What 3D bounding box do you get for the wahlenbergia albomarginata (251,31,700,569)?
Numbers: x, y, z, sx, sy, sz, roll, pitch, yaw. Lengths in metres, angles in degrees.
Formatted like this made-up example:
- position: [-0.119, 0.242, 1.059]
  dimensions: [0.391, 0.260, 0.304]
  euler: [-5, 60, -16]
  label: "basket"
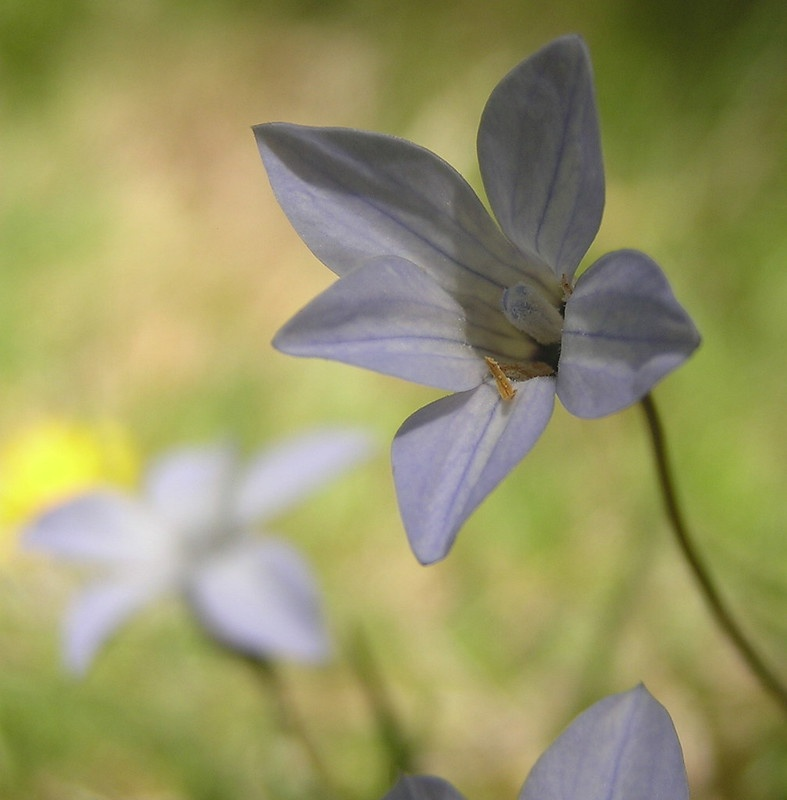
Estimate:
- position: [0.018, -0.047, 0.550]
  dimensions: [0.182, 0.262, 0.116]
  euler: [1, -4, -11]
  label: "wahlenbergia albomarginata"
